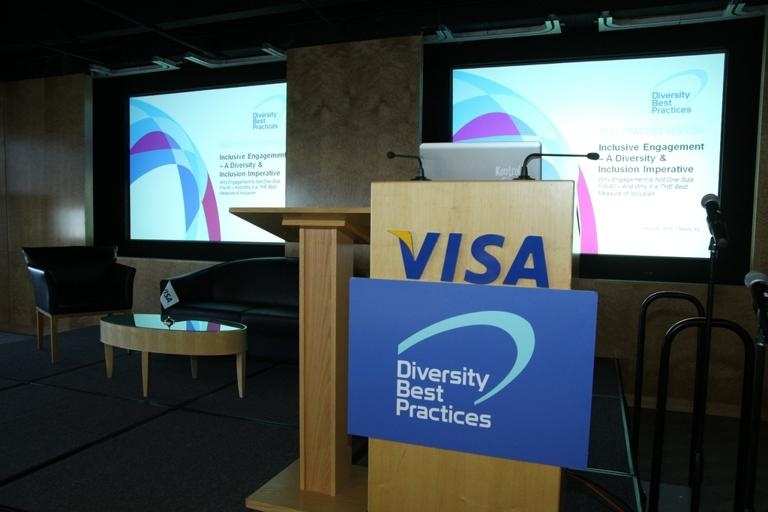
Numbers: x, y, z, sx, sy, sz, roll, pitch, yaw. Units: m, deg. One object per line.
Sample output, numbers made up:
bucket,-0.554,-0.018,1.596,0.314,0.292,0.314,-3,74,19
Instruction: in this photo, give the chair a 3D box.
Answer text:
chair,-3.548,0.510,7.134,1.004,1.202,0.861,-2,5,-42

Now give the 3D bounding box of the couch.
couch,-1.381,0.601,7.018,2.129,1.201,1.061,3,2,21

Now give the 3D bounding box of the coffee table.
coffee table,-2.066,0.987,6.004,1.491,0.701,0.608,2,5,17
